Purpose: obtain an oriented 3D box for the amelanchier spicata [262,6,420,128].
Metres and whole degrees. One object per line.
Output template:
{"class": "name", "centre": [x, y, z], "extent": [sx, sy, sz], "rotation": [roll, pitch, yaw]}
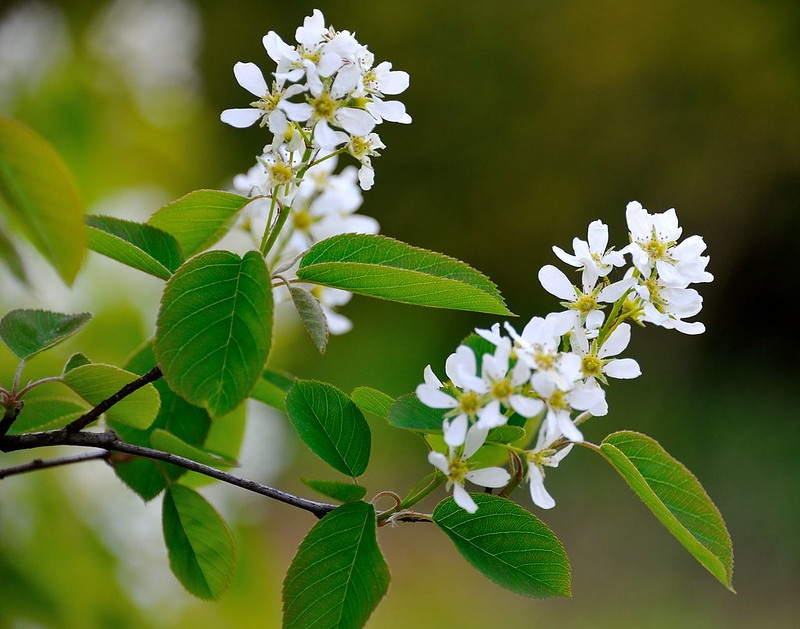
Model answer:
{"class": "amelanchier spicata", "centre": [-0.103, -0.458, 1.659], "extent": [0.217, 0.217, 0.098], "rotation": [29, -76, 9]}
